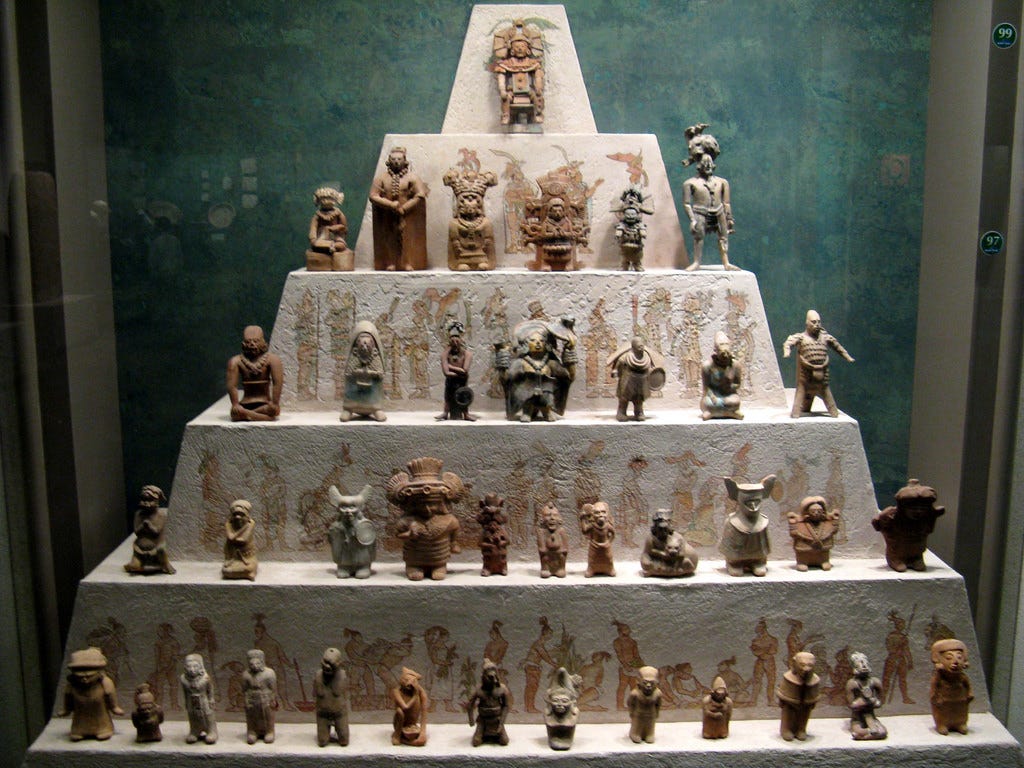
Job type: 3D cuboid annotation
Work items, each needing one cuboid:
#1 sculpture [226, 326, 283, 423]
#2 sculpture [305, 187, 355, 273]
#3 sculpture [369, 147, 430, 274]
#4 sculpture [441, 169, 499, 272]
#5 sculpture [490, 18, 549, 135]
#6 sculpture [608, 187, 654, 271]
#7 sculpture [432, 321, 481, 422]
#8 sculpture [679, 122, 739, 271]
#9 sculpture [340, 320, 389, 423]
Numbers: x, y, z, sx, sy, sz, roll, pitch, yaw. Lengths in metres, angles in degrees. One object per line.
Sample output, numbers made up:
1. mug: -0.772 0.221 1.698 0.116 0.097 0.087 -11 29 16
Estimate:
1. sculpture: -1.262 -0.052 7.431 0.272 0.452 0.224 -3 10 -7
2. sculpture: -0.927 -0.781 7.664 0.236 0.410 0.187 -2 10 -6
3. sculpture: -0.569 -0.880 7.620 0.284 0.606 0.178 -2 10 -3
4. sculpture: -0.208 -0.831 7.604 0.261 0.508 0.260 -2 10 -2
5. sculpture: 0.029 -1.598 7.758 0.278 0.540 0.137 -1 10 1
6. sculpture: 0.622 -0.792 7.652 0.157 0.423 0.233 3 11 22
7. sculpture: -0.280 -0.065 7.411 0.196 0.477 0.209 -2 10 -4
8. sculpture: 1.000 -0.950 7.667 0.266 0.724 0.327 0 10 6
9. sculpture: -0.740 -0.061 7.419 0.219 0.474 0.215 -2 10 -6
